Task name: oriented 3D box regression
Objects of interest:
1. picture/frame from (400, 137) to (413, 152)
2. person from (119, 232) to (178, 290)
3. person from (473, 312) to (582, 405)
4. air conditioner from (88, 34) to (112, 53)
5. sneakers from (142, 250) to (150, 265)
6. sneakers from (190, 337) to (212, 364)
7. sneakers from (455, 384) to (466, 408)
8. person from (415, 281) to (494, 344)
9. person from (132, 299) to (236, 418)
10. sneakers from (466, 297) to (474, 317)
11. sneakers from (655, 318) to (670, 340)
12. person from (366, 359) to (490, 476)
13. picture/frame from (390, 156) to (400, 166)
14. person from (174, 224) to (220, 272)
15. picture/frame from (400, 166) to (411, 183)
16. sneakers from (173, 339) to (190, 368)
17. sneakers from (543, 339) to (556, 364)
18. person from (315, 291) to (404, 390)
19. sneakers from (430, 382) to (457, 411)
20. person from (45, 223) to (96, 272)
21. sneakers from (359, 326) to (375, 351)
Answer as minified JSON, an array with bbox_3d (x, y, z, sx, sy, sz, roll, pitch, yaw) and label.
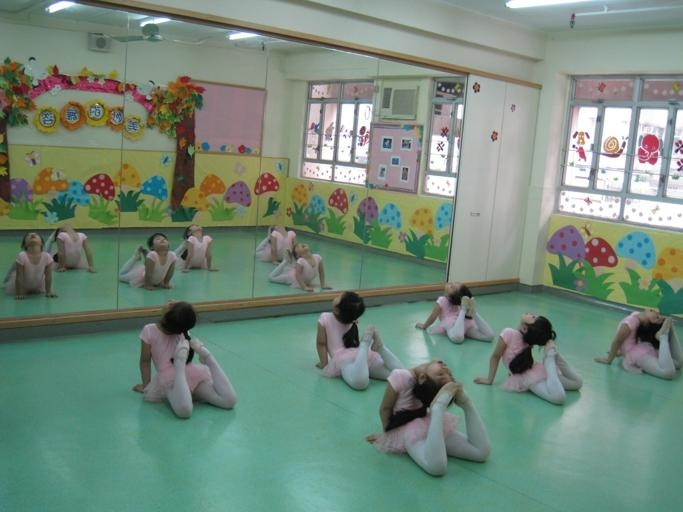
[{"bbox_3d":[0.935,-1.629,6.740,0.188,0.190,0.020,-7,8,-37],"label":"picture/frame"},{"bbox_3d":[-2.264,-0.040,5.480,0.532,0.750,0.585,-10,27,-42],"label":"person"},{"bbox_3d":[1.886,0.949,4.649,0.574,0.717,0.953,-7,11,-39],"label":"person"},{"bbox_3d":[-2.390,-2.105,4.583,0.171,0.170,0.055,-8,24,-42],"label":"air conditioner"},{"bbox_3d":[-2.172,0.011,5.179,0.052,0.135,0.072,-8,-22,-8],"label":"sneakers"},{"bbox_3d":[-1.106,0.765,3.729,0.220,0.124,0.073,38,8,12],"label":"sneakers"},{"bbox_3d":[0.783,0.928,3.105,0.056,0.151,0.078,6,4,-36],"label":"sneakers"},{"bbox_3d":[1.469,0.717,6.074,0.756,0.714,1.174,4,4,-5],"label":"person"},{"bbox_3d":[-1.288,0.773,3.833,0.623,0.749,0.915,0,17,-42],"label":"person"},{"bbox_3d":[1.581,0.635,5.708,0.079,0.287,0.109,-1,13,-16],"label":"sneakers"},{"bbox_3d":[3.481,0.788,5.061,0.126,0.239,0.066,-7,25,-37],"label":"sneakers"},{"bbox_3d":[0.607,1.100,3.402,0.596,0.702,0.933,4,-7,-24],"label":"person"},{"bbox_3d":[0.770,-1.376,6.702,0.129,0.121,0.013,-9,13,-40],"label":"picture/frame"},{"bbox_3d":[-1.926,-0.080,5.795,0.338,0.565,0.957,-1,-2,-38],"label":"person"},{"bbox_3d":[0.930,-1.207,6.846,0.212,0.315,0.024,-5,7,-42],"label":"picture/frame"},{"bbox_3d":[-1.250,0.765,3.645,0.120,0.230,0.149,0,12,-20],"label":"sneakers"},{"bbox_3d":[1.986,0.910,4.423,0.096,0.201,0.147,8,11,17],"label":"sneakers"},{"bbox_3d":[0.137,0.756,4.455,0.605,0.815,1.033,-1,0,-26],"label":"person"},{"bbox_3d":[0.664,0.915,3.070,0.066,0.183,0.134,43,19,9],"label":"sneakers"},{"bbox_3d":[-3.007,-0.109,5.063,0.473,0.491,0.831,1,3,-39],"label":"person"},{"bbox_3d":[0.235,0.739,4.184,0.116,0.299,0.247,5,11,4],"label":"sneakers"}]
